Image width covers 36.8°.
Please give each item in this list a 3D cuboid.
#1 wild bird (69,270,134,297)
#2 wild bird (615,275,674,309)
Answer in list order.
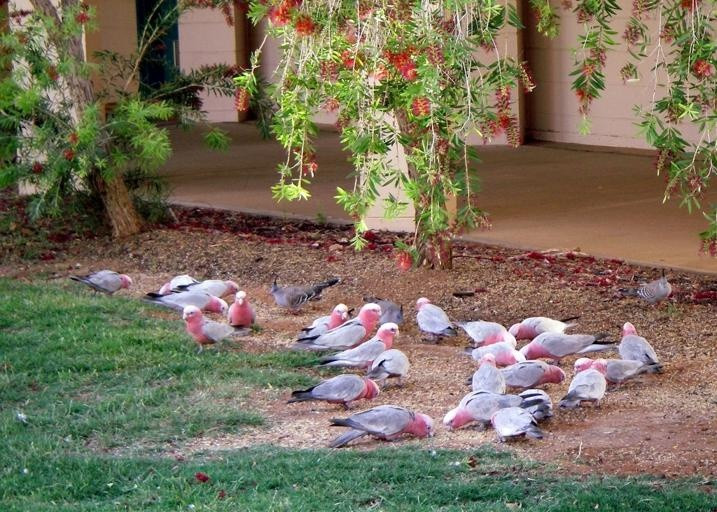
[{"bbox_3d":[-2.909,0.320,12.328,0.627,0.306,0.328,-5,10,-20],"label":"wild bird"},{"bbox_3d":[3.238,0.380,12.278,0.305,0.372,0.694,-9,15,-41],"label":"wild bird"}]
